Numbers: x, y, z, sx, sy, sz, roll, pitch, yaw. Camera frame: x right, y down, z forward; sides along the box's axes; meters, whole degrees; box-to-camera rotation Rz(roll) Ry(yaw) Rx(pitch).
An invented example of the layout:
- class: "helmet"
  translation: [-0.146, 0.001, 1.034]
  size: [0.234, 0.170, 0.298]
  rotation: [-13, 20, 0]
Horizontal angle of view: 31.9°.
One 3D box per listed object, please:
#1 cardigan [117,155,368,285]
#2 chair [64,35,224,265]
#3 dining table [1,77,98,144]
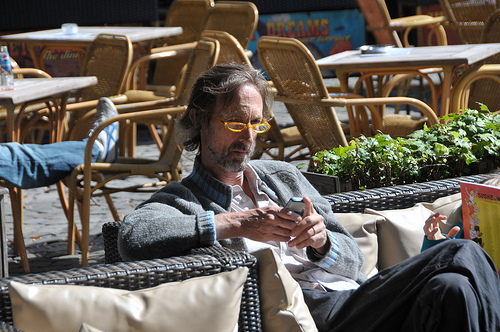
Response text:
- class: "cardigan"
  translation: [-0.094, 0.317, 5.570]
  size: [1.050, 0.470, 1.124]
  rotation: [4, 6, 30]
- class: "chair"
  translation: [-0.928, -0.060, 7.577]
  size: [1.296, 1.789, 1.131]
  rotation: [-4, -2, -22]
- class: "dining table"
  translation: [-1.808, -0.571, 7.533]
  size: [0.688, 0.671, 0.671]
  rotation: [-14, 22, -40]
